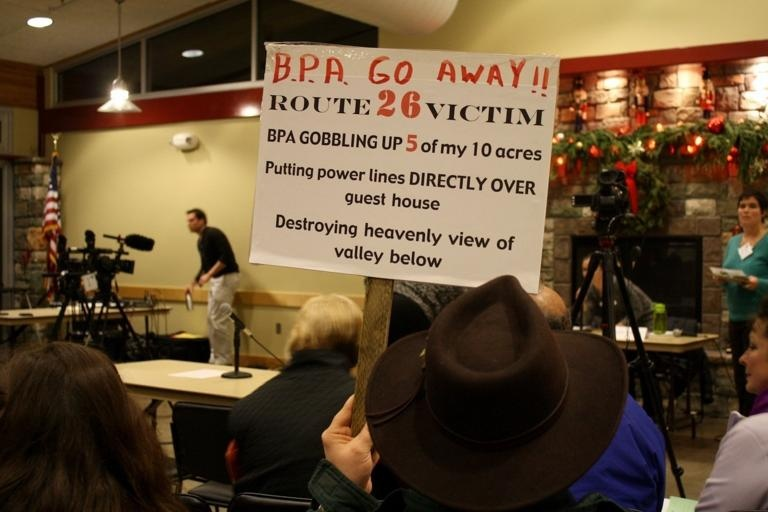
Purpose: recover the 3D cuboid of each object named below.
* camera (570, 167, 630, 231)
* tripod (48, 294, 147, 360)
[{"bbox_3d":[1.281,-0.311,3.585,0.275,0.374,0.195,6,-24,26],"label":"camera"},{"bbox_3d":[-2.667,0.644,5.882,0.860,0.657,0.710,13,9,39],"label":"tripod"}]
